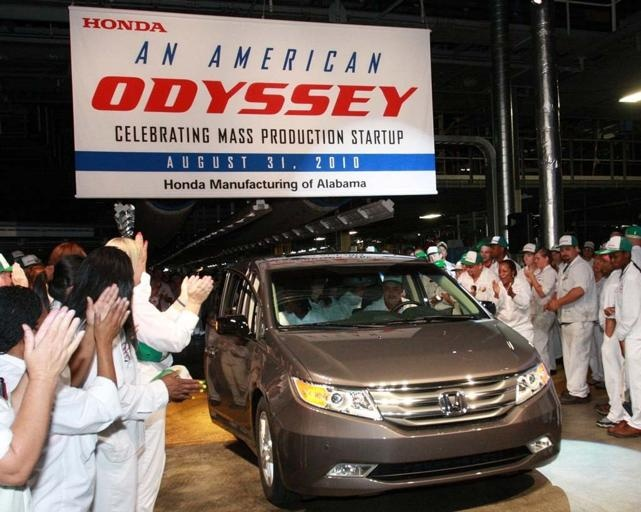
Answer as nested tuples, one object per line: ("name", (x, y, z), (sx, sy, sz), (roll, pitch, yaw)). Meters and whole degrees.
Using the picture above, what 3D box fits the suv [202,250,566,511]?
("suv", (0.101, 0.895, 5.205), (2.113, 1.456, 3.431), (-1, -3, -20))

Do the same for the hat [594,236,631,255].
("hat", (3.710, -0.127, 6.327), (0.361, 0.177, 0.224), (0, 2, 3))

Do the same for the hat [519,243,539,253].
("hat", (4.311, -0.143, 10.320), (0.240, 0.212, 0.394), (-12, -11, 41))

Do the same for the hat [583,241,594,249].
("hat", (8.909, -0.340, 16.560), (0.345, 0.149, 0.484), (0, -6, 18))

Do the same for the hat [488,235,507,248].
("hat", (3.540, -0.273, 9.889), (0.356, 0.187, 0.245), (3, -1, -5))
